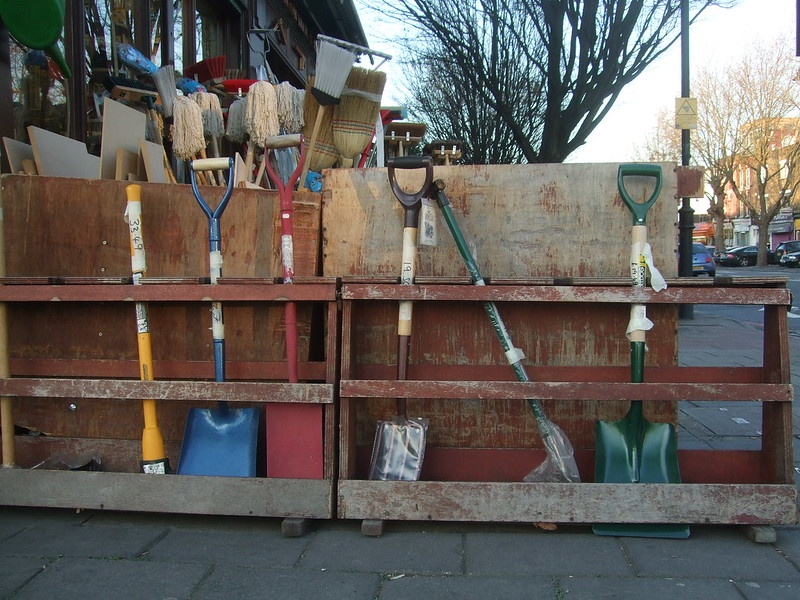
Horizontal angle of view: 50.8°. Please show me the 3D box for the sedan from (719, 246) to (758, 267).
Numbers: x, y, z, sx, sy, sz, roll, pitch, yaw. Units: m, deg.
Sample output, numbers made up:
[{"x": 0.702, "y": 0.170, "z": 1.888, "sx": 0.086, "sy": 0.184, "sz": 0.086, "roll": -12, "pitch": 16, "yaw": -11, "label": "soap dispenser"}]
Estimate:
[{"x": 15.262, "y": -1.933, "z": 37.888, "sx": 0.950, "sy": 0.891, "sz": 2.340, "roll": -4, "pitch": 7, "yaw": -18, "label": "sedan"}]

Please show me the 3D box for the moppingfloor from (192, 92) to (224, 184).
[{"x": -1.443, "y": -1.215, "z": 6.423, "sx": 0.170, "sy": 0.662, "sz": 0.191, "roll": 1, "pitch": 10, "yaw": 2, "label": "moppingfloor"}]

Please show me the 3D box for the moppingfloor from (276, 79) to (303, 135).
[{"x": -0.849, "y": -1.460, "z": 6.442, "sx": 0.198, "sy": 0.430, "sz": 0.401, "roll": 8, "pitch": -2, "yaw": -7, "label": "moppingfloor"}]

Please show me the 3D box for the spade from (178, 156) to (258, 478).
[{"x": -1.063, "y": 0.113, "z": 4.725, "sx": 0.470, "sy": 1.798, "sz": 0.495, "roll": -2, "pitch": 7, "yaw": 0, "label": "spade"}]

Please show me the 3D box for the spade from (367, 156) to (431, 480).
[{"x": -0.001, "y": 0.101, "z": 4.694, "sx": 0.330, "sy": 1.786, "sz": 0.573, "roll": 1, "pitch": 7, "yaw": 24, "label": "spade"}]

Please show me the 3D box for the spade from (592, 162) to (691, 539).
[{"x": 1.322, "y": 0.248, "z": 4.647, "sx": 0.496, "sy": 1.996, "sz": 0.624, "roll": 0, "pitch": 7, "yaw": 13, "label": "spade"}]

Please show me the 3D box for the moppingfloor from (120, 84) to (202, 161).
[{"x": -1.921, "y": -1.442, "z": 6.390, "sx": 0.148, "sy": 0.468, "sz": 0.674, "roll": -35, "pitch": 59, "yaw": -18, "label": "moppingfloor"}]

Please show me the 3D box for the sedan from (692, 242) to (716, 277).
[{"x": 7.535, "y": -0.977, "z": 20.960, "sx": 0.470, "sy": 0.770, "sz": 1.336, "roll": 0, "pitch": 7, "yaw": 17, "label": "sedan"}]

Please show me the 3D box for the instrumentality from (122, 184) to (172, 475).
[{"x": -1.421, "y": 0.246, "z": 4.765, "sx": 0.197, "sy": 1.837, "sz": 0.204, "roll": -2, "pitch": 0, "yaw": -5, "label": "instrumentality"}]

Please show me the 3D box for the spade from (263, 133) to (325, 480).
[{"x": -0.612, "y": 0.054, "z": 4.600, "sx": 0.307, "sy": 1.895, "sz": 0.129, "roll": -1, "pitch": 6, "yaw": 0, "label": "spade"}]

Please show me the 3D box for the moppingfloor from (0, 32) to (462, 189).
[{"x": -1.232, "y": -1.576, "z": 6.013, "sx": 2.575, "sy": 0.923, "sz": 1.897, "roll": 13, "pitch": 18, "yaw": 24, "label": "moppingfloor"}]
